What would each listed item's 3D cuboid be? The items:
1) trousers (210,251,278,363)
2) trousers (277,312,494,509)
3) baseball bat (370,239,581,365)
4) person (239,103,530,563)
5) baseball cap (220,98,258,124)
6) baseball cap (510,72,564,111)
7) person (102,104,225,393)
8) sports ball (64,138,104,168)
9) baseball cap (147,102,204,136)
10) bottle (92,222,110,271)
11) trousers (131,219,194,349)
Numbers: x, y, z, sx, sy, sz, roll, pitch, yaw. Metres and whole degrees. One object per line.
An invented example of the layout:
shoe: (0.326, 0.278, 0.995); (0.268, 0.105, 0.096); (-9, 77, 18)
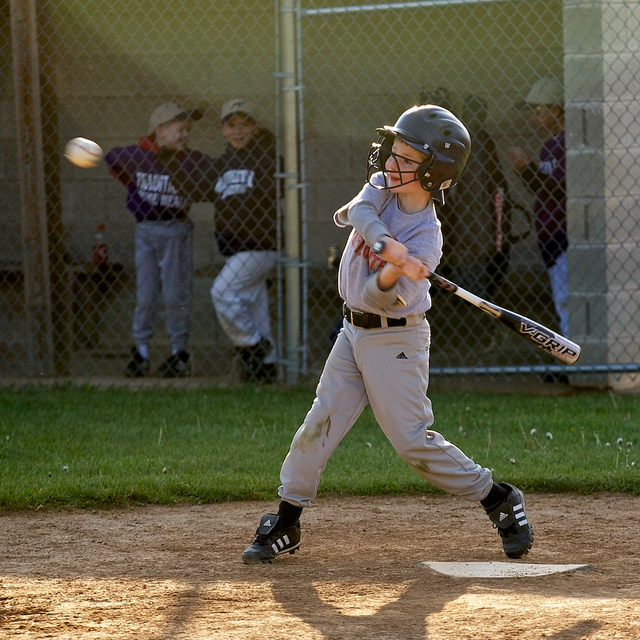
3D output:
trousers: (-0.427, -0.157, 6.896); (0.365, 0.556, 0.392); (-1, 11, -5)
trousers: (0.186, 0.271, 4.225); (0.684, 0.766, 0.546); (-8, 21, -35)
baseball bat: (0.776, -0.084, 5.822); (1.301, 0.151, 0.191); (28, 34, -20)
person: (0.239, 0.065, 4.114); (0.967, 1.545, 0.461); (1, 11, 9)
baseball cap: (-0.458, -1.158, 6.681); (0.208, 0.131, 0.183); (-2, 11, -6)
baseball cap: (1.248, -1.246, 6.598); (0.188, 0.180, 0.491); (-4, 12, -19)
person: (-0.917, -0.447, 6.857); (0.577, 1.520, 0.674); (-7, 13, -28)
sports ball: (-1.063, -0.732, 5.385); (0.155, 0.084, 0.154); (11, 29, -6)
baseball cap: (-0.832, -1.150, 6.703); (0.281, 0.145, 0.178); (-28, 2, 11)
bottle: (-1.350, -0.448, 7.305); (0.116, 0.387, 0.102); (8, 35, -2)
trousers: (-0.892, -0.235, 6.857); (0.270, 0.854, 0.207); (-12, 24, -30)
